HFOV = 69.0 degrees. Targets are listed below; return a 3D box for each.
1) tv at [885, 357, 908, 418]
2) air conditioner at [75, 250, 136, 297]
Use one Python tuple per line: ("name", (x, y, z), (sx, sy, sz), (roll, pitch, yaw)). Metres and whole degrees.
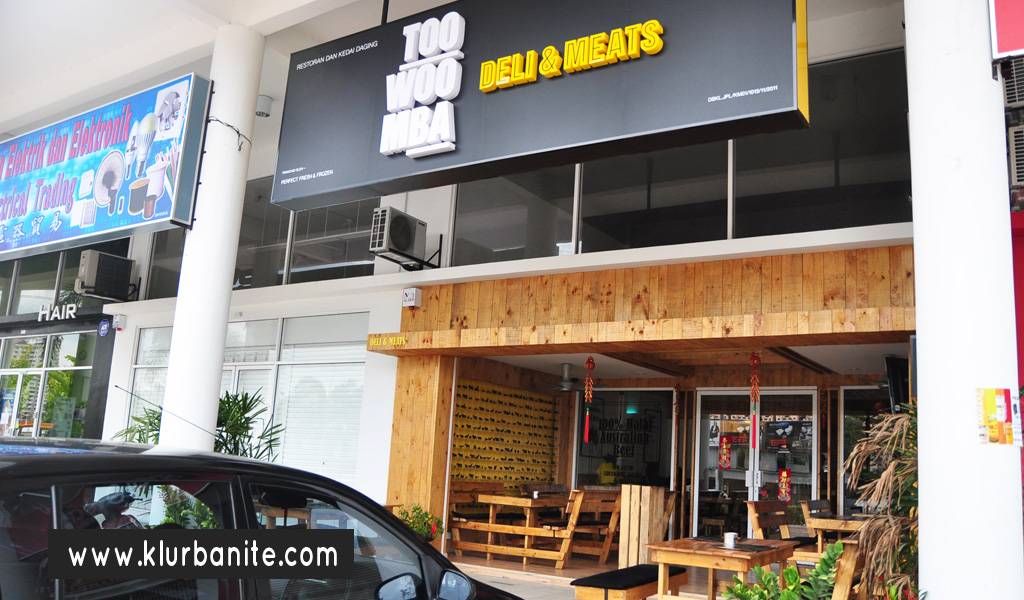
("tv", (4.961, 1.076, 9.619), (0.457, 0.713, 0.202), (12, -17, -43))
("air conditioner", (-7.591, -0.470, 14.014), (0.370, 0.761, 0.812), (-7, -11, 35))
